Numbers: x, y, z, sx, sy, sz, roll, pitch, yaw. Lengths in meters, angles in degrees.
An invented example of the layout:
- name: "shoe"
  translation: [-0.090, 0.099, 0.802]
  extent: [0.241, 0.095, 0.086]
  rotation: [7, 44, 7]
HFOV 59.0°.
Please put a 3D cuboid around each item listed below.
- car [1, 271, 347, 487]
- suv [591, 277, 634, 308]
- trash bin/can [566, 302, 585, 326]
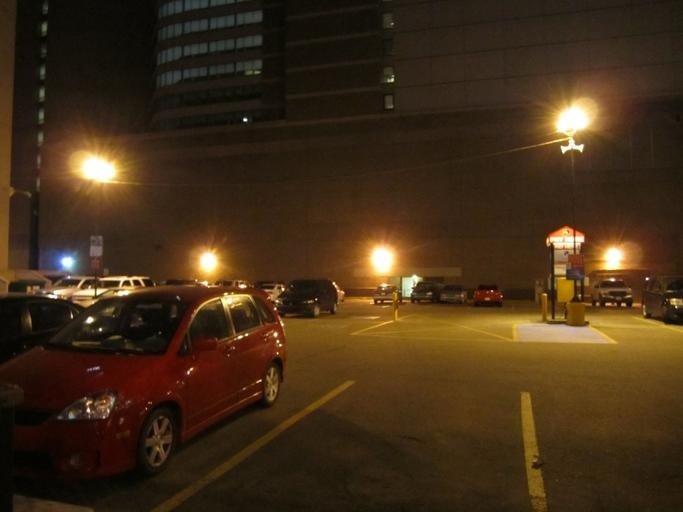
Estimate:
- name: "car"
  translation: [-2.556, 1.615, 8.616]
  extent: [1.989, 1.511, 3.390]
  rotation: [0, -2, 22]
- name: "suv"
  translation: [16.801, 2.331, 37.756]
  extent: [1.348, 1.371, 2.995]
  rotation: [-1, -8, 9]
- name: "trash bin/can"
  translation: [8.697, 2.183, 22.374]
  extent: [0.628, 0.832, 0.615]
  rotation: [-1, 0, 18]
